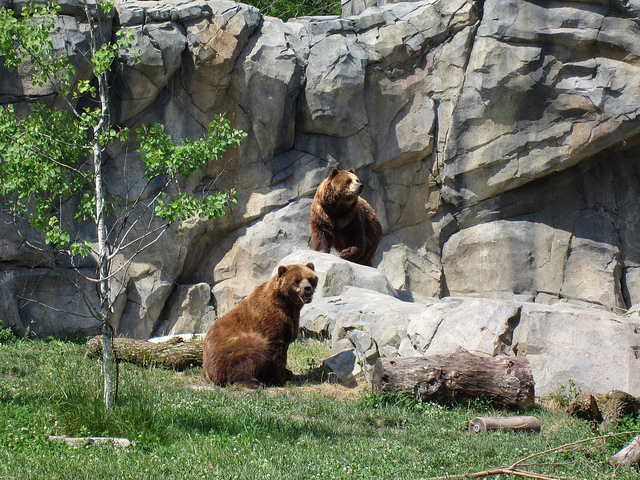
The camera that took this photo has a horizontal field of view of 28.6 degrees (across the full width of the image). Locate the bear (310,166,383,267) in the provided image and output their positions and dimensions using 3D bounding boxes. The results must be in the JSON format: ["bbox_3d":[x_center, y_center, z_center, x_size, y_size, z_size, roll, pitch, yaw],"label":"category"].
[{"bbox_3d":[0.644,-0.462,30.503,1.317,1.595,2.489,0,-14,16],"label":"bear"}]

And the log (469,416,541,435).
[{"bbox_3d":[3.548,3.544,24.239,1.508,0.522,0.487,0,-1,-5],"label":"log"}]
